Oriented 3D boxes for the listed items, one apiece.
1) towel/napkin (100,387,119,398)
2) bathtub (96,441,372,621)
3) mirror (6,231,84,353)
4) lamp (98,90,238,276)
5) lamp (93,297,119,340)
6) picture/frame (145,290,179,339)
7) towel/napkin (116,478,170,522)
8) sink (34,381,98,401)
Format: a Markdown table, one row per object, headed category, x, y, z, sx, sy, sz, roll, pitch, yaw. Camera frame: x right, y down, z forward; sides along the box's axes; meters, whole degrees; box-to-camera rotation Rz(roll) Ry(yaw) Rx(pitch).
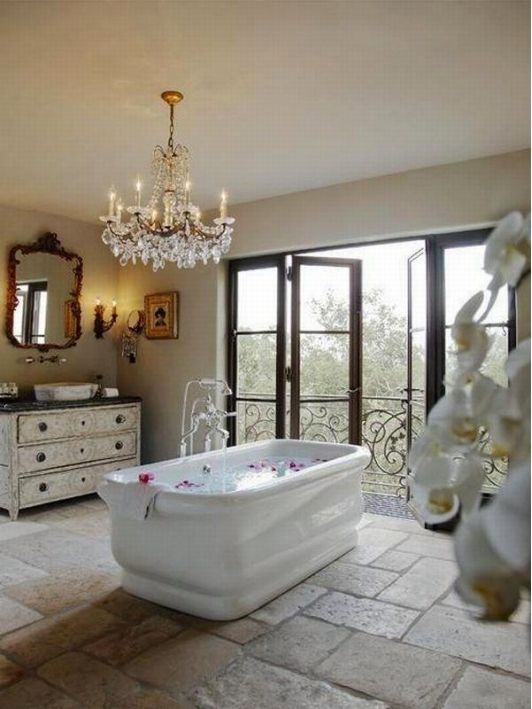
| category | x | y | z | sx | sy | sz | roll | pitch | yaw |
| --- | --- | --- | --- | --- | --- | --- | --- | --- | --- |
| towel/napkin | -1.468 | 0.367 | 5.146 | 0.132 | 0.082 | 0.255 | 1 | -2 | -16 |
| bathtub | -0.306 | 0.600 | 2.687 | 0.695 | 0.452 | 1.371 | 0 | 2 | 34 |
| mirror | -2.012 | -0.570 | 5.016 | 0.128 | 1.113 | 0.836 | 0 | -2 | 26 |
| lamp | -0.530 | -0.985 | 2.974 | 0.683 | 0.869 | 0.693 | 0 | 9 | -25 |
| lamp | -1.620 | -0.344 | 5.611 | 0.192 | 0.394 | 0.345 | 0 | -2 | 11 |
| picture/frame | -0.991 | -0.378 | 5.259 | 0.474 | 0.538 | 0.105 | -2 | -4 | 37 |
| towel/napkin | -0.568 | 0.682 | 2.516 | 0.214 | 0.155 | 0.032 | -8 | -19 | 31 |
| sink | -1.719 | 0.345 | 4.784 | 0.546 | 0.131 | 0.401 | 2 | -3 | -33 |
